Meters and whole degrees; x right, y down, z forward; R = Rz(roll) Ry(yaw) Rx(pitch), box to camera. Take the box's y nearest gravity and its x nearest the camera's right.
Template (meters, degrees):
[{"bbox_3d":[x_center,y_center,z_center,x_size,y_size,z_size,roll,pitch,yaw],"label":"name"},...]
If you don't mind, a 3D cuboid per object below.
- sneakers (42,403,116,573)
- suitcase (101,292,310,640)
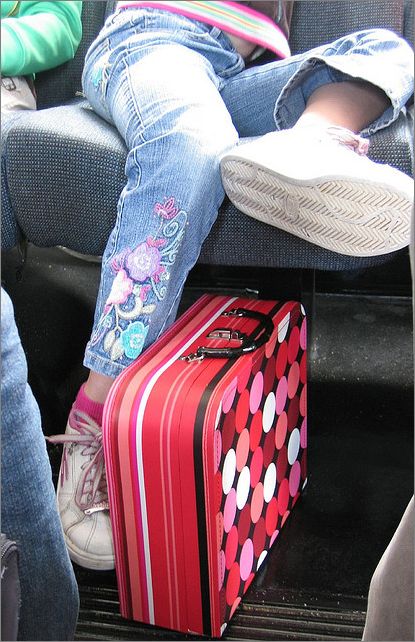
[{"bbox_3d":[-0.175,0.221,0.706,0.095,0.096,0.222,4,44,-16],"label":"sneakers"},{"bbox_3d":[-0.011,0.185,0.624,0.107,0.302,0.301,5,23,18],"label":"suitcase"}]
